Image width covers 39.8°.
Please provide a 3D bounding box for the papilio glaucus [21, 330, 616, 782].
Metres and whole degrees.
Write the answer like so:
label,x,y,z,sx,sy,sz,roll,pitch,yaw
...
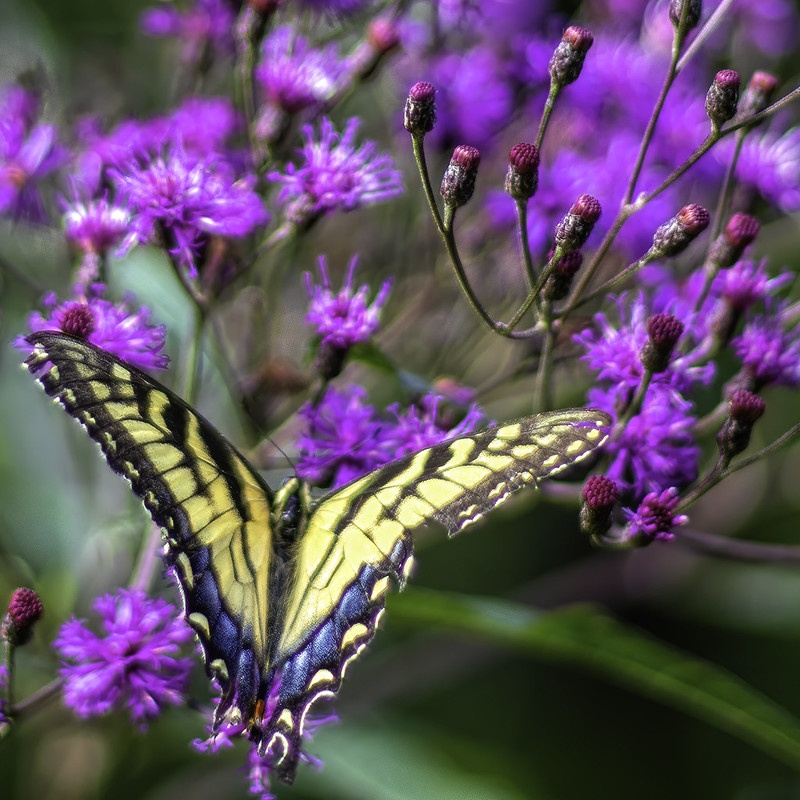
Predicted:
label,x,y,z,sx,sy,sz,roll,pitch,yaw
papilio glaucus,-0.100,0.165,1.041,0.465,0.316,0.345,-3,39,-9
